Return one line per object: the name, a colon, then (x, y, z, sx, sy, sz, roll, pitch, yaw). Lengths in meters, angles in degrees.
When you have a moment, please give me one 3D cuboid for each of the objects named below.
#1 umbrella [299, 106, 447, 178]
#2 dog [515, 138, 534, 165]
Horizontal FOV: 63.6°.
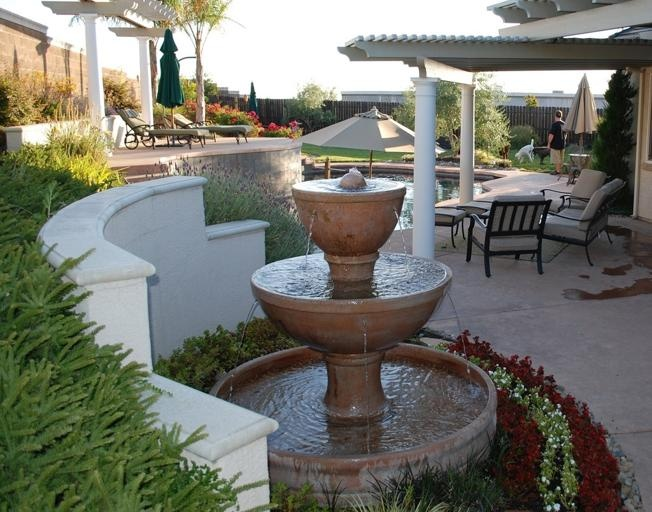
umbrella: (0.549, -2.147, 9.212, 1.854, 1.052, 2.024, 6, 20, -5)
dog: (9.726, -5.017, 25.723, 0.794, 0.810, 2.119, 4, 15, 21)
